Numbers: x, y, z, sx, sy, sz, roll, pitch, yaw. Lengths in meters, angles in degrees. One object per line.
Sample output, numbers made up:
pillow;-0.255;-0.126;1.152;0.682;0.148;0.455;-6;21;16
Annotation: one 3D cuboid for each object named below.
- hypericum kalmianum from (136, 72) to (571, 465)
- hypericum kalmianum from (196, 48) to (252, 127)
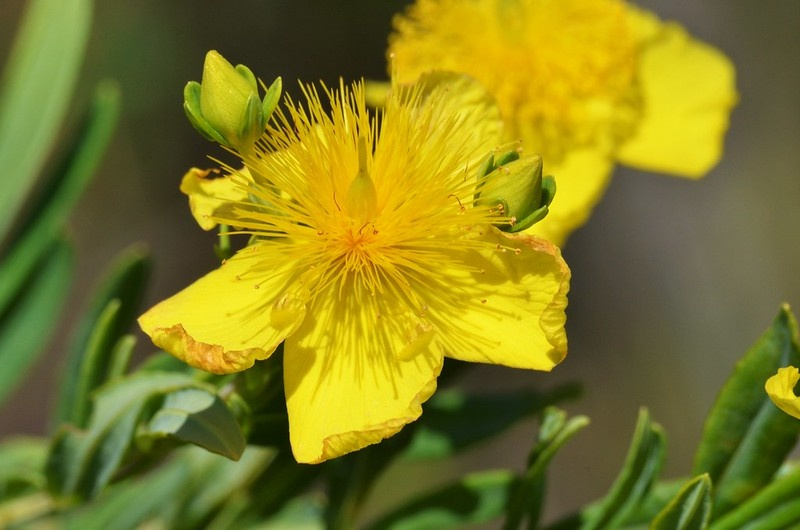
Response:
hypericum kalmianum;-0.062;-0.004;0.873;0.441;0.357;0.299;1;26;-21
hypericum kalmianum;-0.193;-0.191;0.862;0.057;0.079;0.045;5;24;-12
